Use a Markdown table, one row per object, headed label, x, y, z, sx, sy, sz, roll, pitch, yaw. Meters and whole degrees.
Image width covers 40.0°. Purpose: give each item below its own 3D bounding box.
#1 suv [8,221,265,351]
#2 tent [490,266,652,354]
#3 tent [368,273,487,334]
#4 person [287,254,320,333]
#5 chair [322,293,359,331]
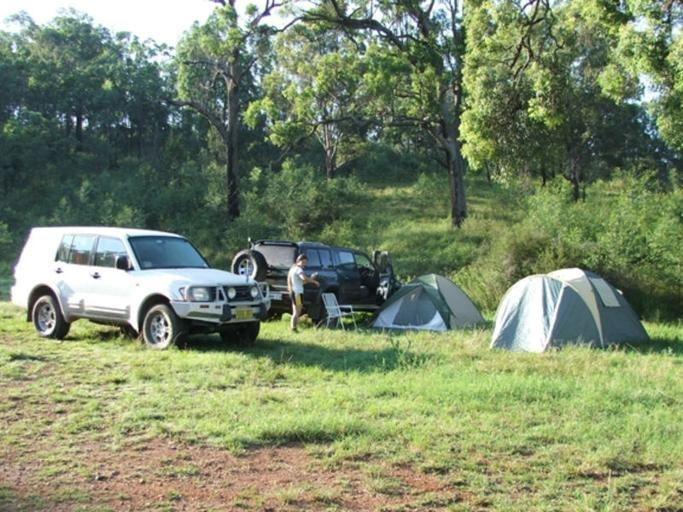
| label | x | y | z | sx | sy | sz | roll | pitch | yaw |
| --- | --- | --- | --- | --- | --- | --- | --- | --- | --- |
| suv | -6.030 | 0.765 | 28.012 | 6.639 | 3.101 | 3.444 | 2 | 1 | 25 |
| tent | 6.682 | 1.691 | 28.135 | 3.466 | 1.946 | 2.544 | -4 | 2 | -25 |
| tent | 2.776 | 1.639 | 30.382 | 2.190 | 1.188 | 2.182 | -2 | 2 | 23 |
| person | -1.289 | 1.174 | 29.726 | 0.896 | 1.926 | 1.078 | 2 | -1 | 9 |
| chair | -0.012 | 1.804 | 30.860 | 1.018 | 1.625 | 1.046 | 0 | 3 | 31 |
